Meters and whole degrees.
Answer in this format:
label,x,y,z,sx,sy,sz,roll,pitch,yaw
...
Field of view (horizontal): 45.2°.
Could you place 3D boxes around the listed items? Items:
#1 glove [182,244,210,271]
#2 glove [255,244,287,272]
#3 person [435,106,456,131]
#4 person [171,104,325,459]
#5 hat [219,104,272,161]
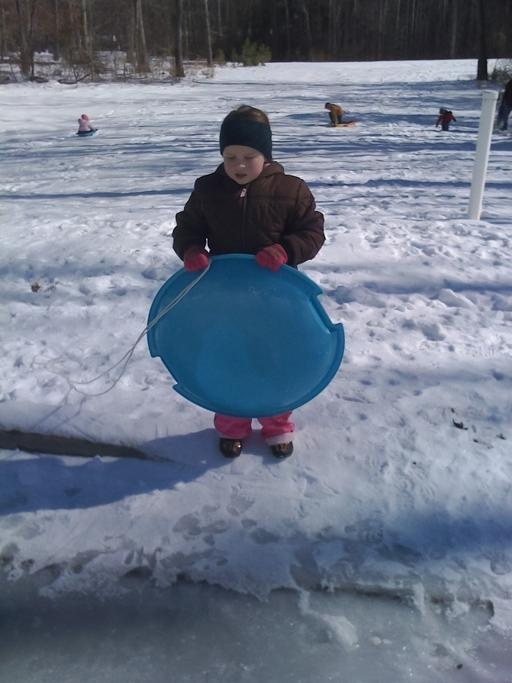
label,x,y,z,sx,sy,sz,roll,pitch,yaw
glove,-0.203,-0.271,2.050,0.071,0.037,0.088,-10,51,4
glove,0.054,-0.268,1.968,0.089,0.084,0.029,24,30,-12
person,3.396,-3.991,11.055,0.263,0.374,1.092,5,23,14
person,-0.035,-0.177,2.256,0.556,1.281,0.462,2,23,5
hat,-0.034,-0.703,2.136,0.168,0.185,0.176,0,56,6
